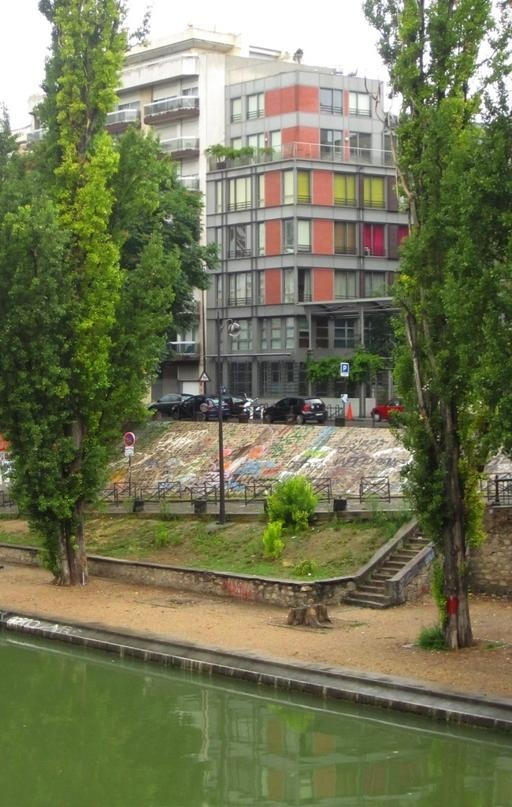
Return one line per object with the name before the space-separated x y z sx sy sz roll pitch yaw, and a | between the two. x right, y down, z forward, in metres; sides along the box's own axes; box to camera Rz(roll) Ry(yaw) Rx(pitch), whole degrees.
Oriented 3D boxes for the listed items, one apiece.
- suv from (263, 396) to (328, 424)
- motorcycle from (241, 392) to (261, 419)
suv | 1.463 0.263 47.976 2.508 1.137 0.960 -8 -7 44
motorcycle | -0.191 0.089 52.620 0.917 0.644 0.956 0 2 7
